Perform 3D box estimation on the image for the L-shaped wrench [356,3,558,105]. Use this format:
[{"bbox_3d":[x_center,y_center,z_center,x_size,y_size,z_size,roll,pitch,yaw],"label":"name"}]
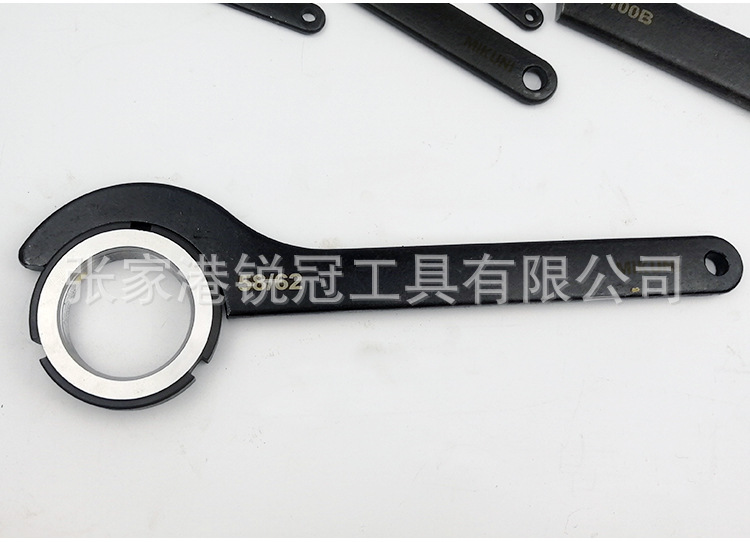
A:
[{"bbox_3d":[0.174,-0.497,1.680,0.398,0.079,0.019,37,0,5],"label":"L-shaped wrench"}]
